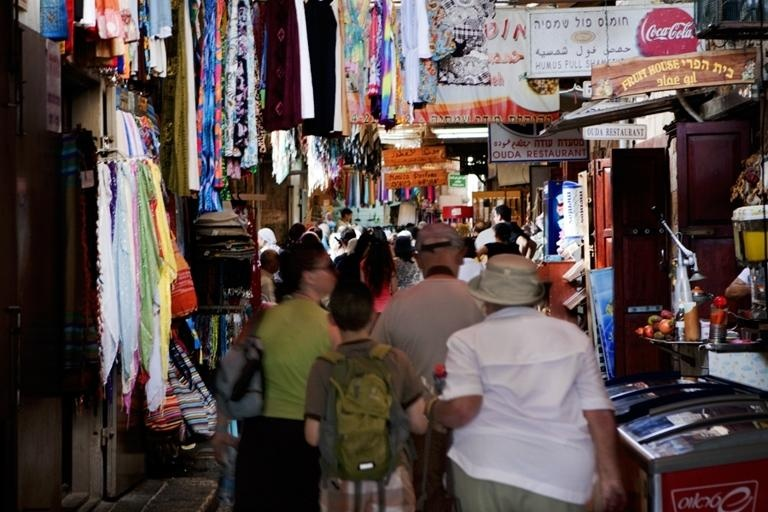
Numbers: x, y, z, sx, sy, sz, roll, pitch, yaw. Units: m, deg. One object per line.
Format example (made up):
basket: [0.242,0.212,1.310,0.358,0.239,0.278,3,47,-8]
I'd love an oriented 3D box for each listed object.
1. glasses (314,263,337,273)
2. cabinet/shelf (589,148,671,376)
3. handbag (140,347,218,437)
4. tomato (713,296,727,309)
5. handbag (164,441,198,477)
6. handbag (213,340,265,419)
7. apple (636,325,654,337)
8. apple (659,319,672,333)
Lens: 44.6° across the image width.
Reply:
glasses: [-0.385,0.080,6.186,0.093,0.044,0.073,-3,5,-11]
cabinet/shelf: [2.866,-0.168,10.499,0.740,2.872,0.307,-9,-42,16]
handbag: [-1.835,1.055,8.318,0.654,0.975,0.387,-1,-2,-38]
tomato: [2.483,0.335,6.945,0.085,0.090,0.085,-22,9,-31]
handbag: [-1.828,1.838,8.559,0.253,0.170,0.726,-1,2,-10]
handbag: [-0.899,0.787,6.002,0.156,0.467,0.331,5,11,-19]
apple: [2.093,0.601,7.545,0.124,0.106,0.103,-6,-38,24]
apple: [2.196,0.546,7.341,0.121,0.121,0.111,-1,2,15]
